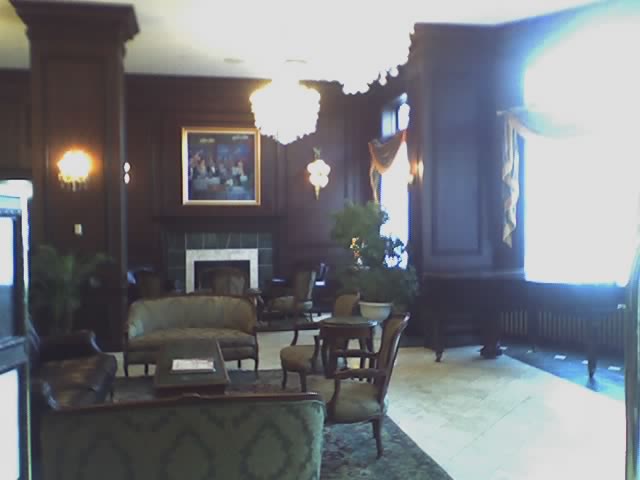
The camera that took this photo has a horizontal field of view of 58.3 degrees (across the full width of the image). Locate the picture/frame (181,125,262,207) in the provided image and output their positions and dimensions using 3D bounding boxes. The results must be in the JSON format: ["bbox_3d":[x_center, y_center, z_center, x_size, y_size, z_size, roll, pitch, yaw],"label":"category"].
[{"bbox_3d":[-1.841,-1.346,10.298,1.257,1.463,0.130,0,0,-8],"label":"picture/frame"}]

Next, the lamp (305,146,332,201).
[{"bbox_3d":[-0.018,-1.232,10.699,0.470,0.913,0.183,-1,5,-8],"label":"lamp"}]
